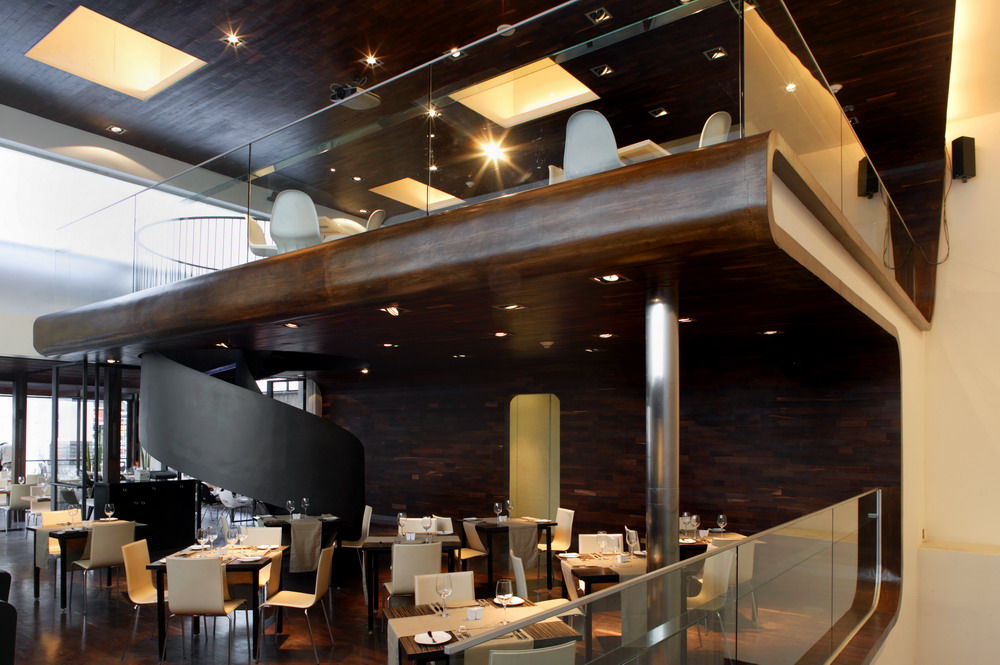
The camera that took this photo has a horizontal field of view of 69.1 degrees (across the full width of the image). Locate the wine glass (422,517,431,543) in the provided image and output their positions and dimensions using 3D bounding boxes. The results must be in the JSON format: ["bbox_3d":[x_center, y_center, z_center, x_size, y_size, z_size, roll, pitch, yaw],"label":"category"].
[{"bbox_3d":[-1.072,2.828,10.616,0.185,0.420,0.182,0,-6,-6],"label":"wine glass"}]

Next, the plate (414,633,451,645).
[{"bbox_3d":[-0.613,2.750,6.541,0.211,0.020,0.204,-2,-4,24],"label":"plate"}]

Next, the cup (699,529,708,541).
[{"bbox_3d":[2.764,2.742,9.892,0.141,0.090,0.100,0,-5,11],"label":"cup"}]

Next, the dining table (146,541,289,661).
[{"bbox_3d":[-3.316,3.035,8.620,1.415,1.048,1.340,-1,-6,3],"label":"dining table"}]

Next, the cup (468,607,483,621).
[{"bbox_3d":[-0.232,2.673,6.929,0.069,0.081,0.122,-6,-9,27],"label":"cup"}]
